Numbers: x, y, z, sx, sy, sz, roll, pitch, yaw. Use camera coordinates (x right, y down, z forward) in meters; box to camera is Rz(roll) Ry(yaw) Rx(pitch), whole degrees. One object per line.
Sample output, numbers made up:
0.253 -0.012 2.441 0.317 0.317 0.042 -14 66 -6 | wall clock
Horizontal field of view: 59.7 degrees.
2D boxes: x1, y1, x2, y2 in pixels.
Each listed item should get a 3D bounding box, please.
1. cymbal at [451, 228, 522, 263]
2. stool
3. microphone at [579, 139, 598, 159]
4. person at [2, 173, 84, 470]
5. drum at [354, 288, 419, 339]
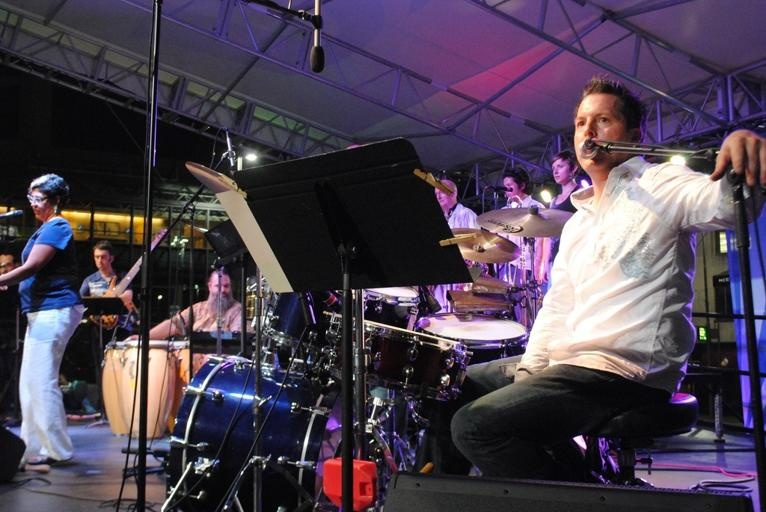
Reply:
1.061 -0.170 6.808 0.490 0.494 0.107 5 -52 -6 | cymbal
1.632 1.199 4.402 0.702 0.545 0.732 -16 -18 32 | stool
1.256 -0.645 4.109 0.083 0.114 0.044 6 39 22 | microphone
-3.368 0.594 6.702 0.672 2.946 0.518 1 -9 -26 | person
0.039 0.491 5.955 0.412 0.431 0.448 -11 -11 30 | drum
